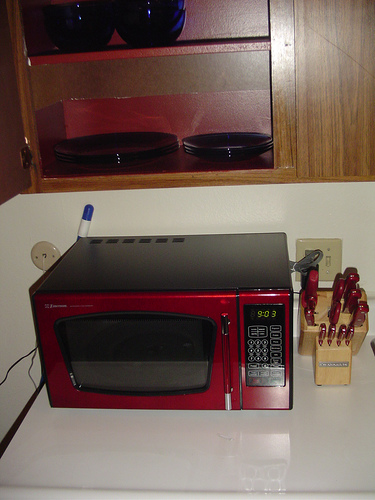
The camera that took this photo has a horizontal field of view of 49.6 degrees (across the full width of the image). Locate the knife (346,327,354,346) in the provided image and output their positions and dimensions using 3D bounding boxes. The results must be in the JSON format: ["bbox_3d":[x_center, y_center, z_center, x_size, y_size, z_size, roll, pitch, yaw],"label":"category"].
[{"bbox_3d":[0.318,0.166,0.798,0.008,0.031,0.008,1,40,-7],"label":"knife"}]

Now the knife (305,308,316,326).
[{"bbox_3d":[0.253,0.137,0.837,0.016,0.052,0.016,-22,39,-13],"label":"knife"}]

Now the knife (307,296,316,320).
[{"bbox_3d":[0.252,0.121,0.816,0.023,0.048,0.025,-2,25,24],"label":"knife"}]

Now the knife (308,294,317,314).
[{"bbox_3d":[0.255,0.106,0.825,0.022,0.032,0.012,-9,14,-19],"label":"knife"}]

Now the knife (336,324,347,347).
[{"bbox_3d":[0.304,0.170,0.811,0.011,0.043,0.018,9,30,8],"label":"knife"}]

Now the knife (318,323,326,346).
[{"bbox_3d":[0.270,0.170,0.819,0.013,0.046,0.012,-4,30,-5],"label":"knife"}]

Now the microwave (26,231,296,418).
[{"bbox_3d":[-0.037,0.127,0.901,0.503,0.279,0.383,-4,26,-6],"label":"microwave"}]

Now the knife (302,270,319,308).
[{"bbox_3d":[0.251,0.080,0.845,0.033,0.021,0.080,13,53,-44],"label":"knife"}]

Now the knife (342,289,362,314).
[{"bbox_3d":[0.335,0.103,0.826,0.020,0.059,0.013,5,57,7],"label":"knife"}]

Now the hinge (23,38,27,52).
[{"bbox_3d":[-0.307,-0.390,0.767,0.003,0.028,0.004,-6,12,-8],"label":"hinge"}]

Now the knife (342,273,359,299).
[{"bbox_3d":[0.338,0.076,0.842,0.029,0.076,0.079,1,15,21],"label":"knife"}]

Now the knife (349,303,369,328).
[{"bbox_3d":[0.342,0.130,0.814,0.025,0.053,0.030,4,42,8],"label":"knife"}]
